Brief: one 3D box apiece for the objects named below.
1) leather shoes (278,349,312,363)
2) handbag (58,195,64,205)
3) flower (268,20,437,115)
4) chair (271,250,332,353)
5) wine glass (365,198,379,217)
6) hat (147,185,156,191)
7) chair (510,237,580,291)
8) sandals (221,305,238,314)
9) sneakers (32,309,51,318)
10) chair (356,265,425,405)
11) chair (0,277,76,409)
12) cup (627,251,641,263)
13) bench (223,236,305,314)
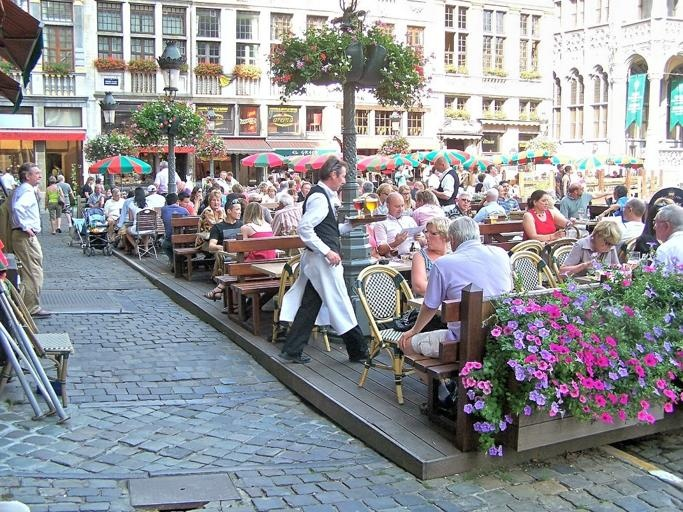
[{"bbox_3d":[-0.531,1.132,7.386,0.333,0.138,0.146,0,5,-12],"label":"leather shoes"},{"bbox_3d":[-9.577,-1.910,21.946,0.212,0.216,0.235,-1,-6,-4],"label":"handbag"},{"bbox_3d":[0.116,-2.683,9.173,1.532,0.926,1.485,1,2,0],"label":"flower"},{"bbox_3d":[-0.683,0.510,7.758,0.599,0.895,0.547,24,-2,24],"label":"chair"},{"bbox_3d":[0.361,-0.568,7.434,0.199,0.214,0.190,-1,-2,9],"label":"wine glass"},{"bbox_3d":[-5.415,-1.943,18.329,0.184,0.127,0.181,-2,1,28],"label":"hat"},{"bbox_3d":[2.510,0.108,7.823,0.476,0.590,0.456,-7,25,-20],"label":"chair"},{"bbox_3d":[-1.651,0.783,9.513,0.260,0.108,0.140,5,0,3],"label":"sandals"},{"bbox_3d":[-4.524,0.852,9.672,0.244,0.098,0.087,-1,10,-23],"label":"sneakers"},{"bbox_3d":[0.602,0.765,6.648,0.950,1.202,0.830,12,16,39],"label":"chair"},{"bbox_3d":[-3.371,0.973,7.101,1.026,1.382,0.883,2,18,-16],"label":"chair"},{"bbox_3d":[3.587,0.002,7.812,0.161,0.146,0.155,-1,7,0],"label":"cup"},{"bbox_3d":[-1.059,0.255,8.775,1.161,0.670,0.430,-6,14,-41],"label":"bench"}]
